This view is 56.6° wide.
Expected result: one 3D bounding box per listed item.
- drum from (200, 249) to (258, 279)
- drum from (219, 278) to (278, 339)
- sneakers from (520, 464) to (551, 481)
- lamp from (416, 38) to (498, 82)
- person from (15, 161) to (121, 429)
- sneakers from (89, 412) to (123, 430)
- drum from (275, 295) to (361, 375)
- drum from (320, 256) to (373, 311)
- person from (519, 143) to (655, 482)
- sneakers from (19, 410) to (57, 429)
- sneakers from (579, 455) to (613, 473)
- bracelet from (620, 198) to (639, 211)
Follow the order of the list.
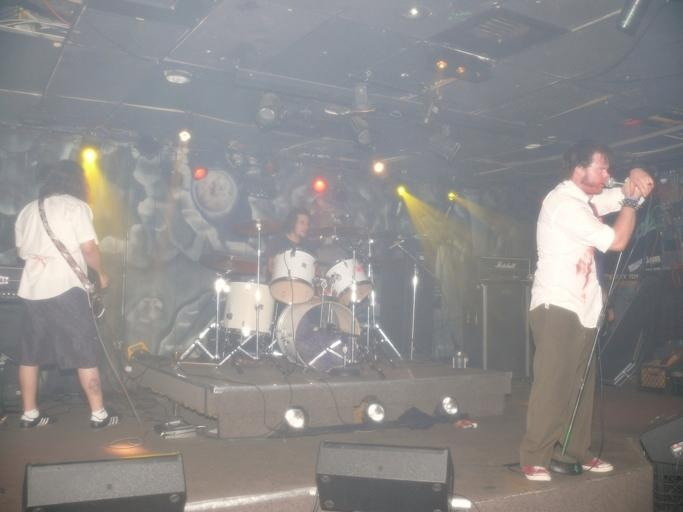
[{"bbox_3d":[-1.296,0.084,7.352,0.689,0.219,0.526,6,-7,-43],"label":"drum"},{"bbox_3d":[-1.054,0.618,7.301,0.579,0.591,0.597,1,-17,1],"label":"drum"},{"bbox_3d":[1.433,1.600,4.670,0.206,0.102,0.121,0,-5,19],"label":"sneakers"},{"bbox_3d":[1.218,-2.015,6.585,0.508,0.124,0.303,16,-25,-11],"label":"lamp"},{"bbox_3d":[-2.488,0.323,5.643,0.849,2.397,0.313,1,-4,0],"label":"person"},{"bbox_3d":[-2.115,1.489,5.730,0.099,0.123,0.252,2,1,43],"label":"sneakers"},{"bbox_3d":[-0.277,0.853,7.125,0.921,0.953,0.708,-1,6,-27],"label":"drum"},{"bbox_3d":[0.005,0.230,7.478,0.375,0.292,0.372,-20,-6,-2],"label":"drum"},{"bbox_3d":[1.807,0.424,4.840,0.848,2.492,0.498,0,-4,16],"label":"person"},{"bbox_3d":[-2.711,1.473,5.737,0.322,0.141,0.116,-2,3,-35],"label":"sneakers"},{"bbox_3d":[1.937,1.581,4.824,0.209,0.086,0.117,-4,-4,19],"label":"sneakers"},{"bbox_3d":[2.131,-0.386,4.691,0.113,0.078,0.059,-1,-5,23],"label":"bracelet"}]
